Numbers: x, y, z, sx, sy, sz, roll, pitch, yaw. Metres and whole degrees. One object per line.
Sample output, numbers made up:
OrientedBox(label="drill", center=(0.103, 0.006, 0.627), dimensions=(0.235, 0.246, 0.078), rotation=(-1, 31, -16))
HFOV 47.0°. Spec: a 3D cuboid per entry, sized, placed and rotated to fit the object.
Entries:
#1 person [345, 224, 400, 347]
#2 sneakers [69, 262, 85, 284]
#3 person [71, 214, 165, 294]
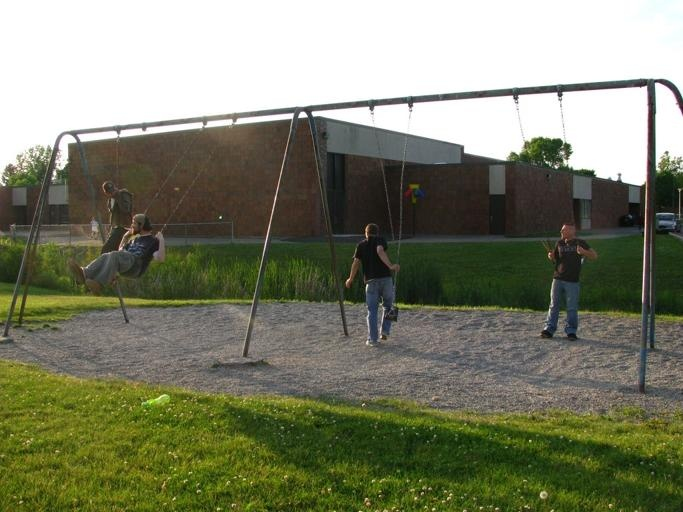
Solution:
OrientedBox(label="person", center=(0.507, 0.409, 13.028), dimensions=(0.773, 2.132, 0.822), rotation=(3, 6, -1))
OrientedBox(label="sneakers", center=(-3.854, 0.239, 11.484), dimensions=(0.225, 0.272, 0.427), rotation=(2, 1, -19))
OrientedBox(label="person", center=(-3.349, -0.052, 11.742), dimensions=(0.823, 1.563, 1.247), rotation=(-11, -27, 34))
